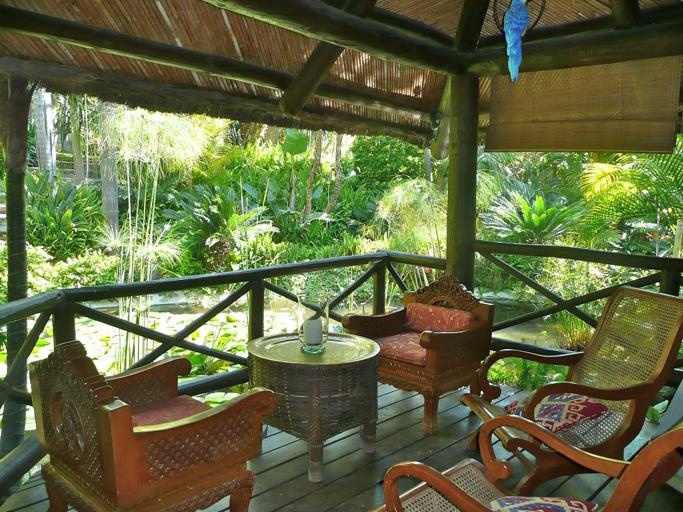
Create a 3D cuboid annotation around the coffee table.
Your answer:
[{"bbox_3d":[-0.169,0.795,3.114,0.809,0.551,0.783,4,8,32],"label":"coffee table"}]

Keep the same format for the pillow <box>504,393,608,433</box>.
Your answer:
[{"bbox_3d":[1.162,0.799,2.668,0.309,0.074,0.303,-11,8,-22],"label":"pillow"}]

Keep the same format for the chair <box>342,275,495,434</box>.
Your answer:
[{"bbox_3d":[0.542,0.650,3.733,0.868,0.880,0.793,6,10,41],"label":"chair"}]
